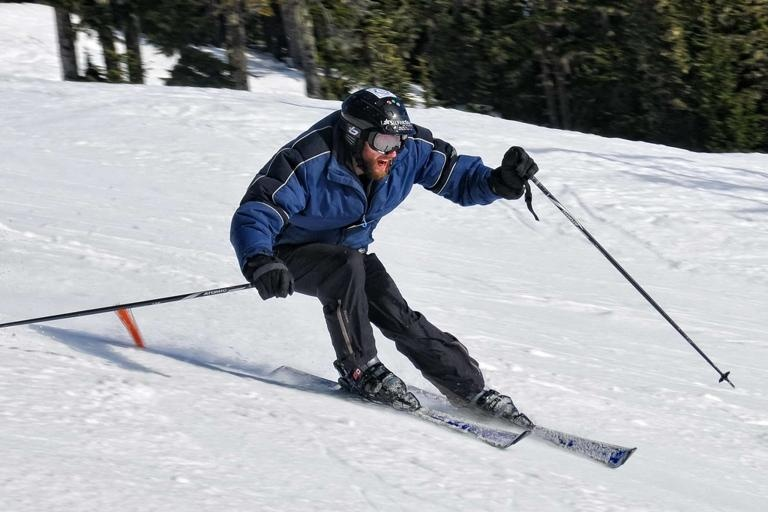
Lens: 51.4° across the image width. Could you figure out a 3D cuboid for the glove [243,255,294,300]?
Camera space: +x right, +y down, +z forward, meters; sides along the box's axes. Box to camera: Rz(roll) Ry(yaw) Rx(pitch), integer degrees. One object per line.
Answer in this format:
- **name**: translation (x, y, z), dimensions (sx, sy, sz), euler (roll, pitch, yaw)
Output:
- **glove**: translation (-0.698, 0.130, 4.925), dimensions (0.236, 0.261, 0.232), euler (0, 17, -27)
